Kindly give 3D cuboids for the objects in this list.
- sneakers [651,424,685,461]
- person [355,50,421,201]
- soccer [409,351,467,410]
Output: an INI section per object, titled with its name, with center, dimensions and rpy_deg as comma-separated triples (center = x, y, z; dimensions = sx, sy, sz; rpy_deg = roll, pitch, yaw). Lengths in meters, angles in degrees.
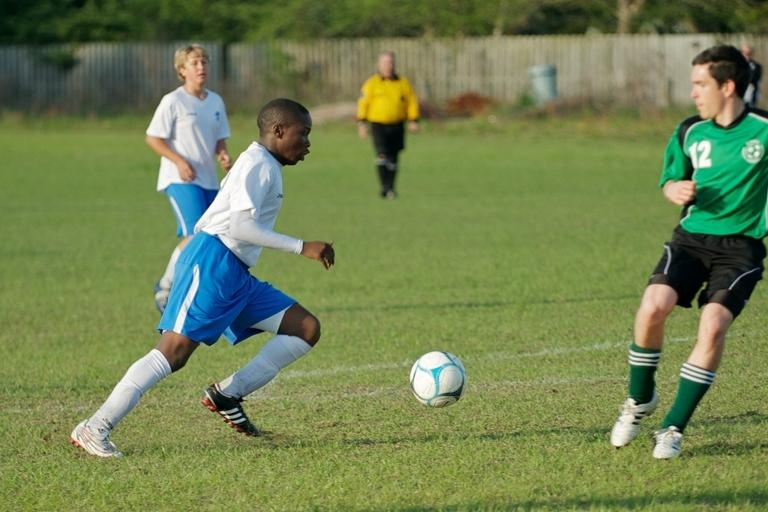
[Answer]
[sneakers]
center = 2.160, 1.391, 9.893
dimensions = 0.211, 0.213, 0.273
rpy_deg = 3, 13, 14
[person]
center = 0.018, -1.070, 9.836
dimensions = 0.326, 0.995, 0.671
rpy_deg = -4, 13, -16
[soccer]
center = 0.423, 0.982, 10.452
dimensions = 0.423, 0.418, 0.421
rpy_deg = 15, 54, -5
